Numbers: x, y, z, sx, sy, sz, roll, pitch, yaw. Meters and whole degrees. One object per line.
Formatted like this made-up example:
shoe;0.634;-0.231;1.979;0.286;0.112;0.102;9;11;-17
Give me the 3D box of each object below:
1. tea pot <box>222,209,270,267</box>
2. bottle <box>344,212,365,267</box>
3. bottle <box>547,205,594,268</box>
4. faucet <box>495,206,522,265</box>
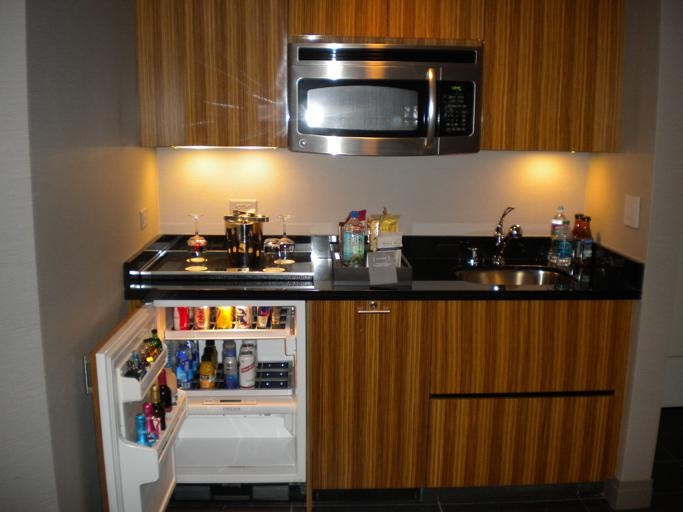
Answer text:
tea pot;-0.484;-0.088;3.084;0.205;0.307;0.296;-1;10;-15
bottle;0.061;-0.094;2.953;0.117;0.252;0.171;0;9;1
bottle;1.301;-0.117;3.313;0.236;0.315;0.329;3;10;21
faucet;0.951;-0.122;3.348;0.160;0.312;0.247;2;9;15
